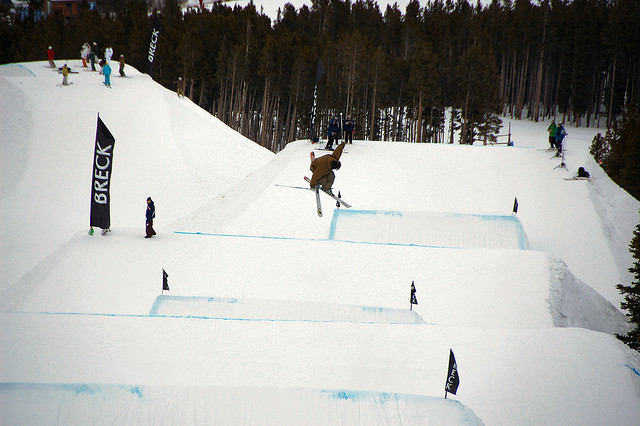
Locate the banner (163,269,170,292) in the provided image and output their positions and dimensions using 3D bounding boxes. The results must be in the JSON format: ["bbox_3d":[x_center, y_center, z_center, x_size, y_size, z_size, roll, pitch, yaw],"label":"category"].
[{"bbox_3d":[-5.742,2.466,20.073,0.203,0.704,0.299,-1,10,-18],"label":"banner"}]

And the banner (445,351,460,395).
[{"bbox_3d":[4.024,4.752,16.332,0.355,1.459,0.403,5,9,16],"label":"banner"}]

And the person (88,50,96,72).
[{"bbox_3d":[-15.964,-10.645,37.778,0.382,1.490,0.790,-2,10,-22],"label":"person"}]

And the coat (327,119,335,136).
[{"bbox_3d":[0.597,-4.517,28.395,0.348,0.867,0.362,4,9,14],"label":"coat"}]

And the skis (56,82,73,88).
[{"bbox_3d":[-16.628,-8.312,34.988,1.206,0.107,0.200,-16,-26,-13],"label":"skis"}]

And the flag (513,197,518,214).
[{"bbox_3d":[8.709,-0.339,24.061,0.142,0.657,0.663,4,10,13],"label":"flag"}]

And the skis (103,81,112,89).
[{"bbox_3d":[-14.002,-8.383,35.392,0.120,0.113,0.678,-27,71,-39],"label":"skis"}]

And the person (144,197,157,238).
[{"bbox_3d":[-7.032,0.149,22.309,0.416,1.603,0.513,3,9,3],"label":"person"}]

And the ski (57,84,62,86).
[{"bbox_3d":[-16.913,-8.304,34.954,0.147,0.180,0.050,7,-19,3],"label":"ski"}]

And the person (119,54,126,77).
[{"bbox_3d":[-13.713,-10.089,37.457,0.374,1.267,1.435,-1,11,-21],"label":"person"}]

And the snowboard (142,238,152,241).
[{"bbox_3d":[-7.140,1.033,22.140,0.245,0.059,0.215,0,12,-18],"label":"snowboard"}]

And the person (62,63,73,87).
[{"bbox_3d":[-16.597,-8.926,35.301,0.522,1.343,1.777,-2,11,-25],"label":"person"}]

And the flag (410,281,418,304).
[{"bbox_3d":[3.482,2.886,19.885,0.285,0.938,0.742,4,10,10],"label":"flag"}]

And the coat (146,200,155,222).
[{"bbox_3d":[-7.050,-0.104,22.335,0.269,0.758,0.410,-2,10,-26],"label":"coat"}]

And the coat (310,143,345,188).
[{"bbox_3d":[0.204,-1.789,20.485,1.121,1.683,0.534,2,9,-2],"label":"coat"}]

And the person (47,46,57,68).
[{"bbox_3d":[-18.778,-10.881,37.784,0.374,1.328,1.774,-2,12,-25],"label":"person"}]

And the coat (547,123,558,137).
[{"bbox_3d":[12.661,-4.524,29.361,0.476,0.657,0.207,3,3,-4],"label":"coat"}]

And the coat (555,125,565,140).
[{"bbox_3d":[13.070,-4.393,29.371,0.484,0.698,0.877,7,11,26],"label":"coat"}]

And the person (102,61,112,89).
[{"bbox_3d":[-14.034,-9.023,35.469,0.442,1.641,1.241,-1,10,-21],"label":"person"}]
